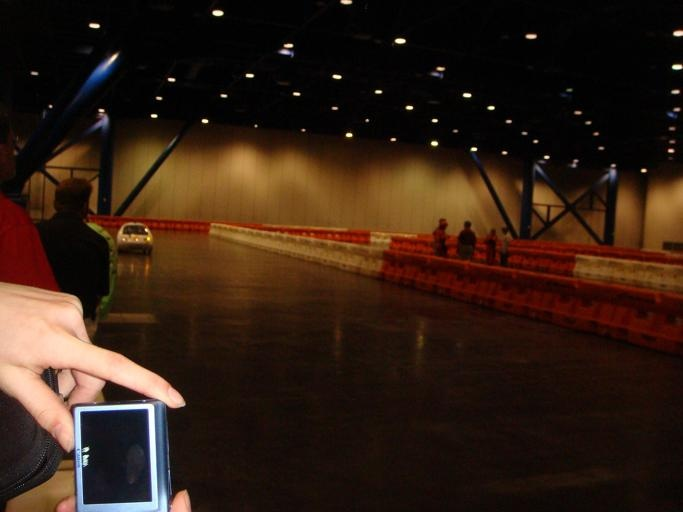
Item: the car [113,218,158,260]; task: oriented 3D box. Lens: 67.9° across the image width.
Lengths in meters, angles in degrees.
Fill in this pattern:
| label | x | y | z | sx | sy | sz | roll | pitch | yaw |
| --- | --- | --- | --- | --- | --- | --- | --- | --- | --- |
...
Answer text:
| label | x | y | z | sx | sy | sz | roll | pitch | yaw |
| --- | --- | --- | --- | --- | --- | --- | --- | --- | --- |
| car | -8.186 | -0.610 | 20.361 | 0.973 | 0.979 | 2.099 | 2 | 19 | -16 |
